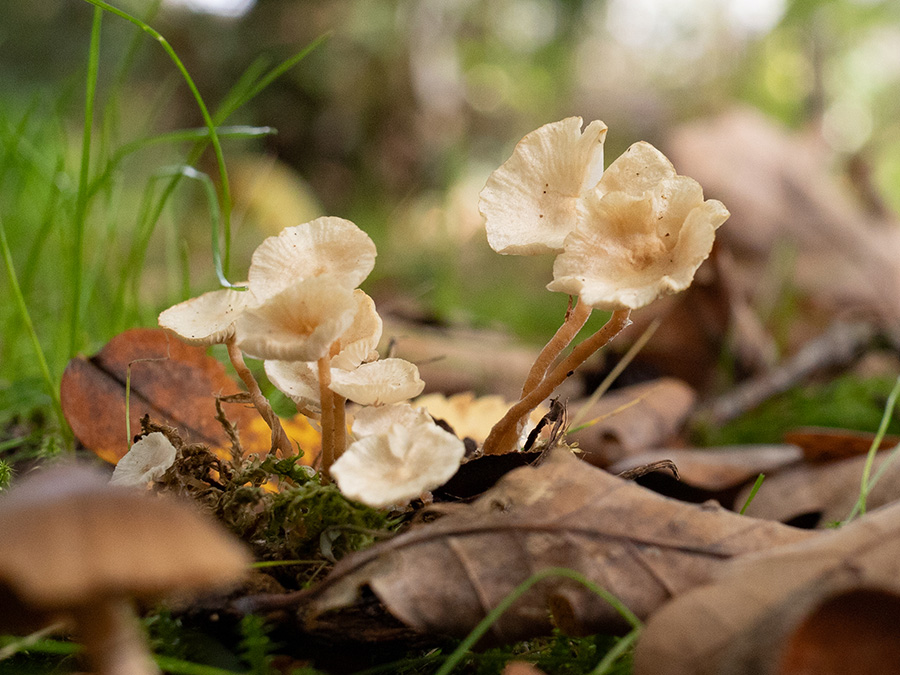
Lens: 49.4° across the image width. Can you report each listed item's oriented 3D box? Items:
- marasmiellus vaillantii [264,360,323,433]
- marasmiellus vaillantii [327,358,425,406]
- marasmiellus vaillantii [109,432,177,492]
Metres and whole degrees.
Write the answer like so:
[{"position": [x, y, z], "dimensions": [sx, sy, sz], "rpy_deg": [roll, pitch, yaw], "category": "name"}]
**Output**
[{"position": [-0.335, 0.113, 1.959], "dimensions": [0.046, 0.110, 0.119], "rpy_deg": [-31, 75, 9], "category": "marasmiellus vaillantii"}, {"position": [-0.143, 0.087, 1.882], "dimensions": [0.122, 0.048, 0.107], "rpy_deg": [-7, 22, -24], "category": "marasmiellus vaillantii"}, {"position": [-0.572, 0.245, 1.876], "dimensions": [0.093, 0.044, 0.121], "rpy_deg": [34, 78, 28], "category": "marasmiellus vaillantii"}]
